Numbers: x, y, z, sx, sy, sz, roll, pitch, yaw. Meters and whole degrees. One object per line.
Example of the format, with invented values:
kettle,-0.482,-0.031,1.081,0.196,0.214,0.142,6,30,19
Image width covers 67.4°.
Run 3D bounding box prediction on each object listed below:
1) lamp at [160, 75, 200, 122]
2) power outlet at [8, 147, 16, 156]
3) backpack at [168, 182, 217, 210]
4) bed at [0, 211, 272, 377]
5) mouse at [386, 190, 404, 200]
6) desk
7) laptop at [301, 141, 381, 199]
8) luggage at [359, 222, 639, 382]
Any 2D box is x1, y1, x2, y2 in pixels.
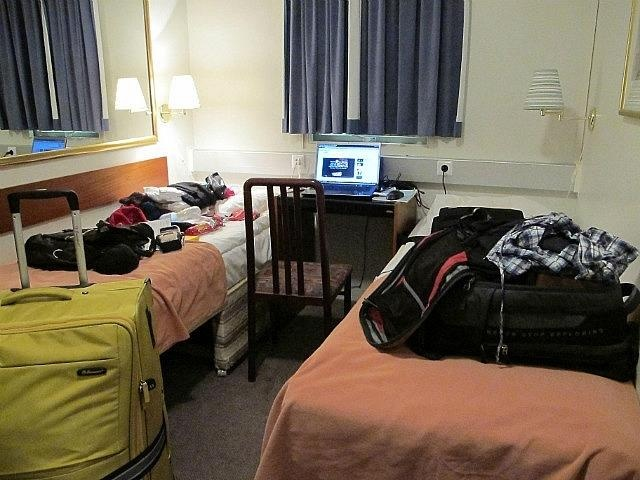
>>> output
lamp,-1.091,-1.064,3.670,0.280,0.329,0.427,-6,16,-18
power outlet,-1.655,-0.471,2.574,0.040,0.042,0.035,4,4,17
backpack,-0.827,-0.302,3.193,0.237,0.092,0.186,7,14,-26
bed,-0.805,0.081,2.587,1.194,0.632,0.870,-1,13,9
mouse,0.497,-0.297,3.207,0.059,0.043,0.113,0,13,18
desk,0.189,-0.016,3.446,0.834,0.680,0.485,7,14,22
laptop,0.201,-0.507,3.458,0.508,0.407,0.341,3,7,11
luggage,0.598,0.233,1.568,0.567,0.207,0.593,0,16,21
